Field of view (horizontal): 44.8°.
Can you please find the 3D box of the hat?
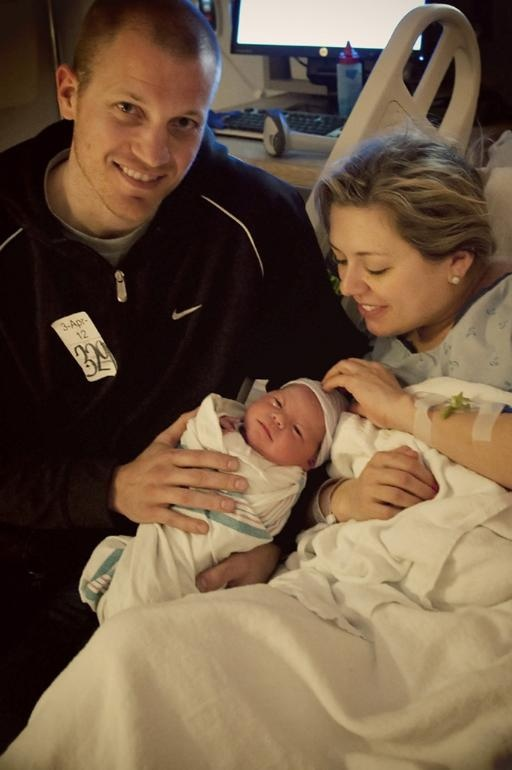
[{"bbox_3d":[0.136,0.070,1.301,0.138,0.173,0.072,29,9,24],"label":"hat"}]
